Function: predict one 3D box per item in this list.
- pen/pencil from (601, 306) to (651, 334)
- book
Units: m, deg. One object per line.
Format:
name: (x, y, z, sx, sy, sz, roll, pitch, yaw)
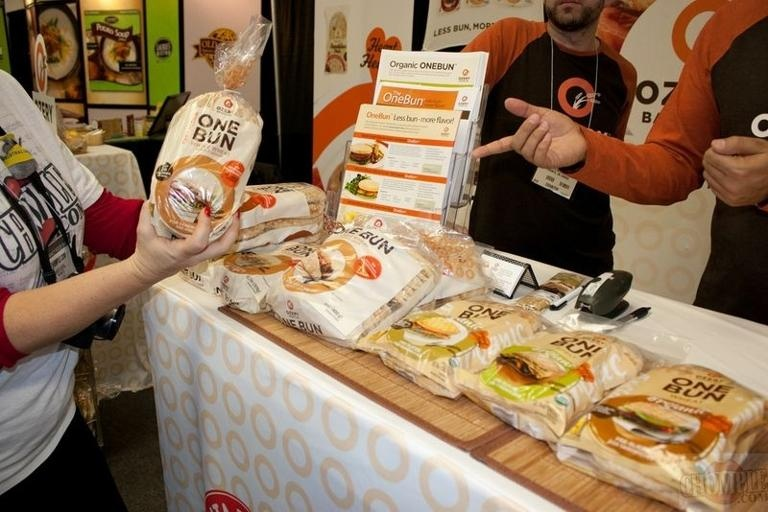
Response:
pen/pencil: (0.626, 0.169, 1.206, 0.173, 0.014, 0.028, -16, 27, -41)
book: (0.072, -0.337, 1.331, 0.385, 0.471, 0.302, 8, 25, 12)
